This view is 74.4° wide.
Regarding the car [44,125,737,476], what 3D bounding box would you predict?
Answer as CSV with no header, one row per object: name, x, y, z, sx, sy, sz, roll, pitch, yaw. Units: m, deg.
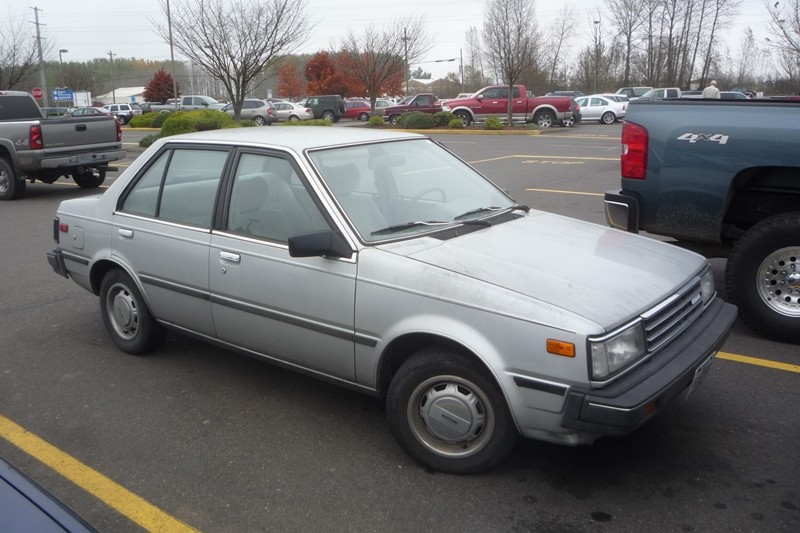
car,-0.336,-0.028,4.421,4.931,1.736,2.512,11,20,31

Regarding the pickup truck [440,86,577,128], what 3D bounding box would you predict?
pickup truck,6.438,-9.318,30.566,7.097,2.269,1.658,5,20,12
